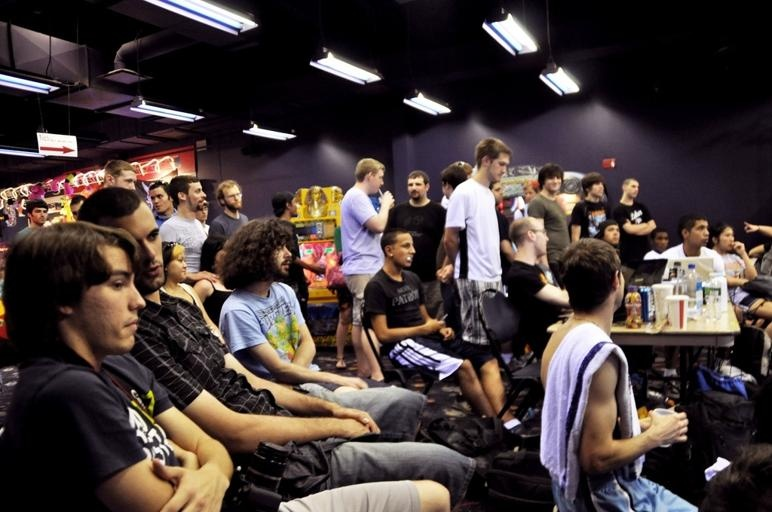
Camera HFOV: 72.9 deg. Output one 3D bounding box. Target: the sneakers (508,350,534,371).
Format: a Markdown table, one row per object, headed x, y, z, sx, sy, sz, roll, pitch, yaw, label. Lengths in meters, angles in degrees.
| x | y | z | sx | sy | sz | roll | pitch | yaw | label |
| --- | --- | --- | --- | --- | --- | --- | --- | --- | --- |
| 1.389 | 1.037 | 5.416 | 0.294 | 0.147 | 0.384 | -3 | 4 | 9 | sneakers |

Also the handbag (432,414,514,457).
| x | y | z | sx | sy | sz | roll | pitch | yaw | label |
| --- | --- | --- | --- | --- | --- | --- | --- | --- | --- |
| 0.557 | 1.162 | 3.408 | 0.301 | 0.108 | 0.312 | 5 | 3 | 37 | handbag |

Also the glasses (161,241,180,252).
| x | y | z | sx | sy | sz | roll | pitch | yaw | label |
| --- | --- | --- | --- | --- | --- | --- | --- | --- | --- |
| -1.367 | -0.063 | 3.313 | 0.038 | 0.079 | 0.124 | 5 | -2 | -7 | glasses |
